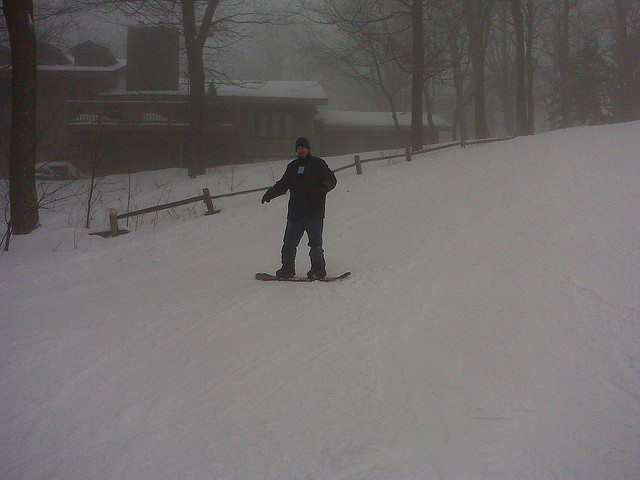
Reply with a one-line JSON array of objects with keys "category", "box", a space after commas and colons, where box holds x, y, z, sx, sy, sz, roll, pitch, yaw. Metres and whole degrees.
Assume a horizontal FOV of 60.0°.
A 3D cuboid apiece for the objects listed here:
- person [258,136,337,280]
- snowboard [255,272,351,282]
[{"category": "person", "box": [-0.259, -0.542, 9.566, 1.053, 2.361, 0.504, -1, 9, -1]}, {"category": "snowboard", "box": [-0.324, 0.639, 9.605, 1.605, 0.105, 0.250, 0, 13, 7]}]
